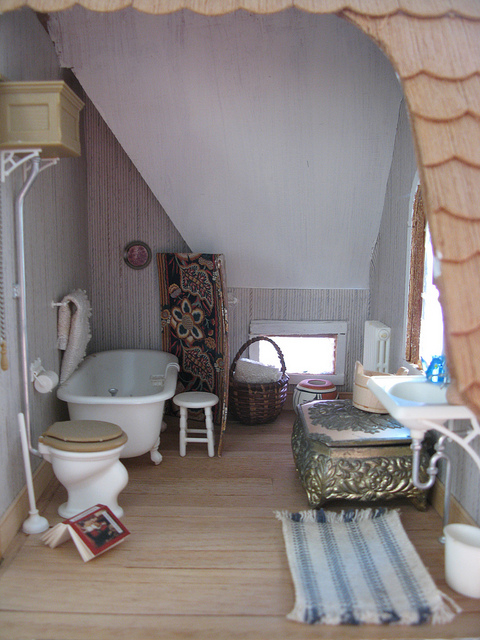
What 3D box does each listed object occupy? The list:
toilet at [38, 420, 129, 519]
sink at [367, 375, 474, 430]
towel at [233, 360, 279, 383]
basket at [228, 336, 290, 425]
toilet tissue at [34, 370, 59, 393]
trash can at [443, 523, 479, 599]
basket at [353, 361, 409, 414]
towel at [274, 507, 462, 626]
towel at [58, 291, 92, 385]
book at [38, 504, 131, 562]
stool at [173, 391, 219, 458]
[{"bbox_3d":[-0.709,0.699,2.453,0.422,0.357,0.391,3,-5,-6],"label":"toilet"},{"bbox_3d":[0.629,0.280,1.851,0.161,0.077,0.331,-1,8,-2],"label":"sink"},{"bbox_3d":[0.105,0.346,3.673,0.305,0.138,0.101,0,8,2],"label":"towel"},{"bbox_3d":[0.138,0.399,3.788,0.437,0.582,0.436,4,14,-9],"label":"basket"},{"bbox_3d":[-0.922,0.308,2.541,0.111,0.087,0.114,17,10,-8],"label":"toilet tissue"},{"bbox_3d":[0.778,0.844,1.887,0.123,0.216,0.153,3,9,23],"label":"trash can"},{"bbox_3d":[0.714,0.337,2.728,0.239,0.203,0.193,4,11,16],"label":"basket"},{"bbox_3d":[0.452,0.940,2.125,0.582,0.040,0.955,-3,0,4],"label":"towel"},{"bbox_3d":[-0.947,0.031,3.052,0.192,0.442,0.120,-4,39,-18],"label":"towel"},{"bbox_3d":[-0.586,0.835,2.163,0.221,0.086,0.194,19,20,26],"label":"book"},{"bbox_3d":[-0.265,0.628,3.343,0.332,0.388,0.329,0,12,-2],"label":"stool"}]
